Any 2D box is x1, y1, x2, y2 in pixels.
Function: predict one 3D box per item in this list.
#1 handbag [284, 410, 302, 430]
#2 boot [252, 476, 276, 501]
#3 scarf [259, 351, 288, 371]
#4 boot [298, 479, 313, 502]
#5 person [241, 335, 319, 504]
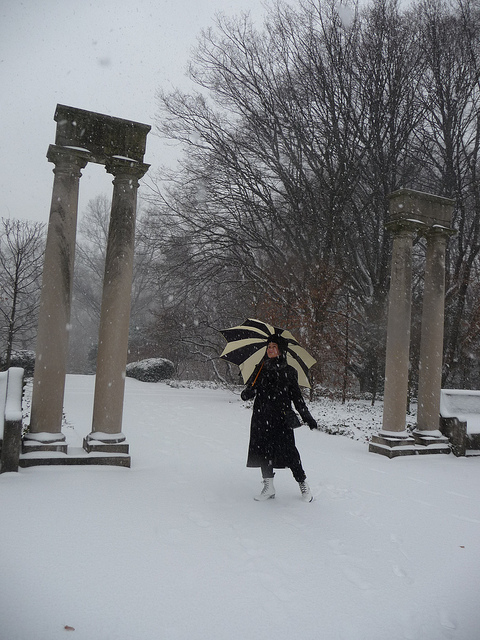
[{"bbox_3d":[0.527,1.010,4.908,0.154,0.190,0.190,4,-4,-15],"label":"handbag"},{"bbox_3d":[0.219,1.718,4.940,0.254,0.349,0.121,1,-9,-23],"label":"boot"},{"bbox_3d":[0.356,0.433,5.039,0.163,0.189,0.155,-6,-15,18],"label":"scarf"},{"bbox_3d":[0.680,1.750,5.016,0.136,0.195,0.185,-1,-5,43],"label":"boot"},{"bbox_3d":[0.381,0.979,4.946,0.502,1.717,0.580,-6,-25,15],"label":"person"}]
